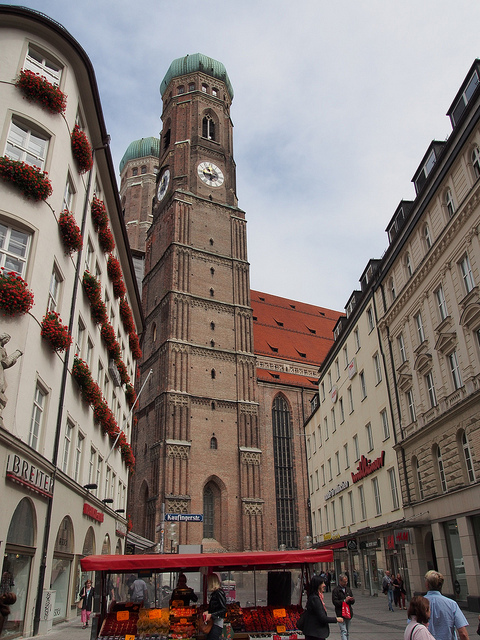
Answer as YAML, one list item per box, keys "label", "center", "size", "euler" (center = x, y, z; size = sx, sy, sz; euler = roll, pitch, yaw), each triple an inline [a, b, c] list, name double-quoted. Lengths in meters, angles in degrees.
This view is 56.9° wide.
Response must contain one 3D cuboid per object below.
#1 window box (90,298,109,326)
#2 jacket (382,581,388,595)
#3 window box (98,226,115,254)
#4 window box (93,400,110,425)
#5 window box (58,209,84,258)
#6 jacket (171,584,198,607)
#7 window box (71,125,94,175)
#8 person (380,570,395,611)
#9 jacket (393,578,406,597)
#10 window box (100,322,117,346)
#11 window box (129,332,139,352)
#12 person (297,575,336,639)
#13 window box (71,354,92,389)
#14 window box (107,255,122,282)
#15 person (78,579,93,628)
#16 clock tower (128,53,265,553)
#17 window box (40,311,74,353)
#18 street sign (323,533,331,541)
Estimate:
- label: "window box"
  center: [-6.290, -0.391, 19.841]
  size: [0.517, 0.769, 0.990]
  euler: [2, -49, -13]
- label: "jacket"
  center: [6.261, 11.530, 19.061]
  size: [0.187, 0.423, 0.796]
  euler: [-9, -30, 15]
- label: "window box"
  center: [-6.553, -4.018, 21.603]
  size: [0.579, 0.632, 1.957]
  euler: [1, -31, -6]
- label: "window box"
  center: [-6.112, 3.964, 19.426]
  size: [0.587, 0.530, 1.236]
  euler: [3, -30, -9]
- label: "window box"
  center: [-5.615, -3.066, 15.138]
  size: [0.886, 0.689, 1.225]
  euler: [13, 13, -22]
- label: "jacket"
  center: [-1.028, 5.112, 8.221]
  size: [0.493, 0.324, 0.409]
  euler: [3, -29, -8]
- label: "window box"
  center: [-5.919, -6.357, 16.545]
  size: [0.639, 1.291, 1.096]
  euler: [-8, -39, -15]
- label: "person"
  center: [6.440, 11.728, 19.172]
  size: [0.480, 1.433, 1.965]
  euler: [-8, -30, 14]
- label: "jacket"
  center: [6.928, 11.715, 19.351]
  size: [0.387, 0.696, 1.312]
  euler: [-9, -30, 14]
- label: "window box"
  center: [-6.492, 0.651, 21.727]
  size: [0.448, 0.979, 0.669]
  euler: [2, 10, -4]
- label: "window box"
  center: [-7.739, 1.563, 32.330]
  size: [0.644, 0.774, 2.241]
  euler: [5, -31, -12]
- label: "person"
  center: [0.905, 3.503, 5.386]
  size: [0.425, 0.651, 0.785]
  euler: [-4, -29, 5]
- label: "window box"
  center: [-5.974, 1.865, 16.706]
  size: [0.533, 0.856, 1.261]
  euler: [2, -29, -6]
- label: "window box"
  center: [-6.861, -2.860, 24.205]
  size: [0.694, 0.671, 1.151]
  euler: [-6, -30, -8]
- label: "person"
  center: [-5.121, 9.452, 14.759]
  size: [0.449, 1.449, 0.453]
  euler: [10, -9, -40]
- label: "clock tower"
  center: [-5.174, -7.933, 56.850]
  size: [13.227, 66.959, 8.575]
  euler: [2, -25, -6]
- label: "window box"
  center: [-5.400, 0.316, 13.071]
  size: [0.606, 0.841, 1.090]
  euler: [-3, -29, 3]
- label: "street sign"
  center: [7.313, 18.246, 37.173]
  size: [0.721, 0.527, 0.715]
  euler: [-19, -24, 41]
